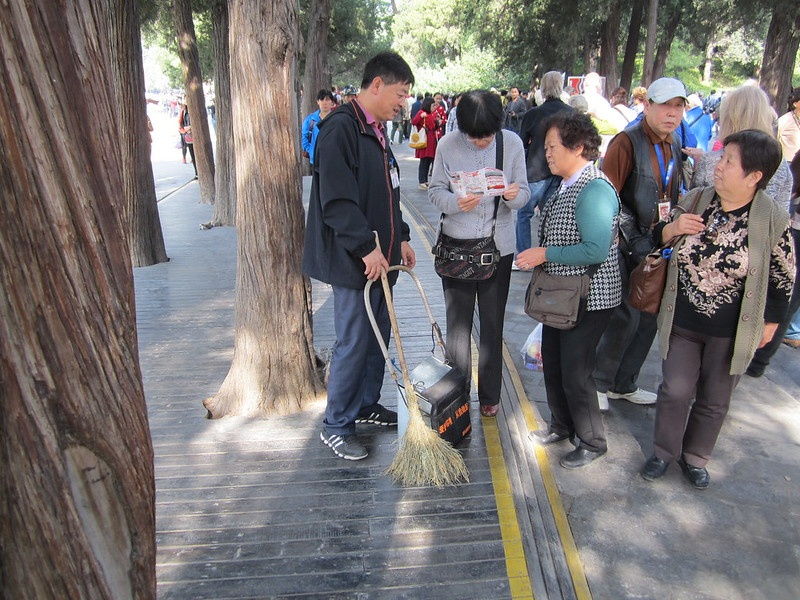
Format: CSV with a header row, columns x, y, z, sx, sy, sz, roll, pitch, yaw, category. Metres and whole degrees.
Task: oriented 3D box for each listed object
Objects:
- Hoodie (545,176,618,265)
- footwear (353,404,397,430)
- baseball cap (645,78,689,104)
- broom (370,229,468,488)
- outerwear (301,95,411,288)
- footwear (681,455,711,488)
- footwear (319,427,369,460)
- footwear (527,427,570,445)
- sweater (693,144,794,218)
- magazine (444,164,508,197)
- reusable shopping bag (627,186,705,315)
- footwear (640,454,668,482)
x,y,z,sx,sy,sz,roll,pitch,yaw,category
1.127,-0.473,3.760,0.433,0.491,0.239,1,21,10,Hoodie
-0.184,0.874,4.664,0.362,0.190,0.140,-2,15,-2,footwear
1.820,-1.425,4.173,0.162,0.132,0.241,-2,20,6,baseball cap
0.090,0.379,4.006,0.562,1.589,0.751,-12,23,-23,broom
-0.324,-0.687,4.005,0.710,1.148,0.648,-6,22,-10,outerwear
1.983,1.182,4.106,0.113,0.100,0.261,-20,63,9,footwear
-0.395,1.008,4.332,0.337,0.173,0.139,17,17,32,footwear
1.080,1.001,4.453,0.280,0.126,0.123,2,33,0,footwear
2.108,-0.718,3.764,0.464,0.573,0.314,-4,30,-2,sweater
0.523,-0.787,4.063,0.301,0.206,0.074,-2,-11,2,magazine
1.749,-0.315,4.002,0.280,0.786,0.534,28,37,17,reusable shopping bag
1.702,1.129,4.099,0.090,0.111,0.252,7,11,37,footwear
